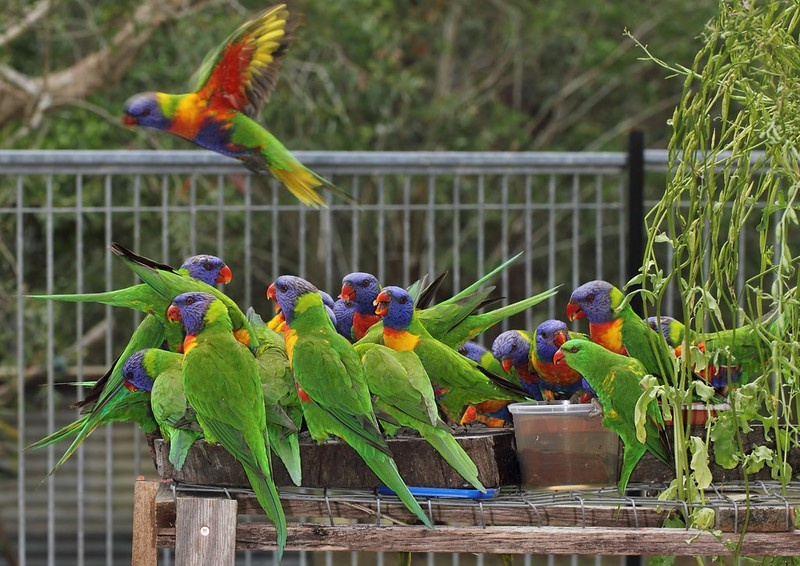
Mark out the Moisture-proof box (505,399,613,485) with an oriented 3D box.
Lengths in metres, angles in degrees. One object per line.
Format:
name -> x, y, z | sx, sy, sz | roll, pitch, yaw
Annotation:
Moisture-proof box -> 0.600, 0.572, 6.819 | 0.280, 0.219, 0.279 | -1, -10, 7

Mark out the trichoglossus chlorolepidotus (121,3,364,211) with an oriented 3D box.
trichoglossus chlorolepidotus -> -0.567, -0.620, 6.850 | 0.684, 0.444, 0.656 | 12, -1, -8

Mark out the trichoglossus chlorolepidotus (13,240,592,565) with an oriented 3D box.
trichoglossus chlorolepidotus -> -0.344, 0.456, 7.268 | 2.163, 1.155, 0.850 | -1, -16, -9

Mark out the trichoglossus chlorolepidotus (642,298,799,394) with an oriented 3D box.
trichoglossus chlorolepidotus -> 1.169, 0.284, 6.978 | 0.579, 0.458, 0.201 | 0, -18, -10

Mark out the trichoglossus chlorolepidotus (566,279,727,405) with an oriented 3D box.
trichoglossus chlorolepidotus -> 0.917, 0.186, 7.077 | 0.589, 0.516, 0.224 | -7, 22, -12

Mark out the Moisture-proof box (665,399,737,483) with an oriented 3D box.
Moisture-proof box -> 1.058, 0.548, 6.824 | 0.231, 0.271, 0.064 | 7, -9, 7
